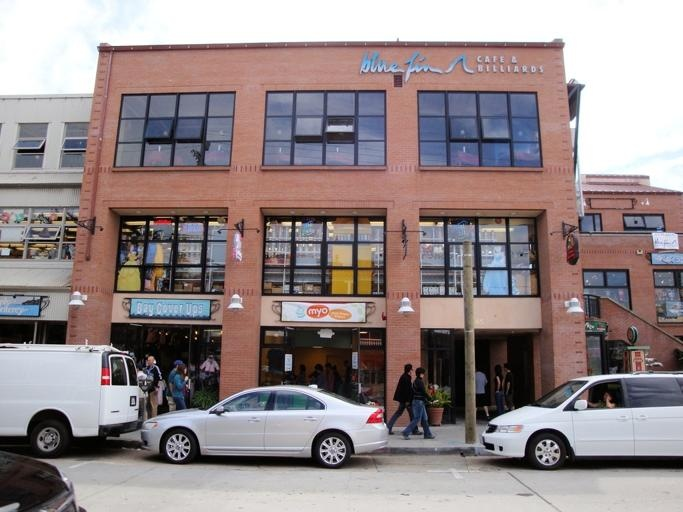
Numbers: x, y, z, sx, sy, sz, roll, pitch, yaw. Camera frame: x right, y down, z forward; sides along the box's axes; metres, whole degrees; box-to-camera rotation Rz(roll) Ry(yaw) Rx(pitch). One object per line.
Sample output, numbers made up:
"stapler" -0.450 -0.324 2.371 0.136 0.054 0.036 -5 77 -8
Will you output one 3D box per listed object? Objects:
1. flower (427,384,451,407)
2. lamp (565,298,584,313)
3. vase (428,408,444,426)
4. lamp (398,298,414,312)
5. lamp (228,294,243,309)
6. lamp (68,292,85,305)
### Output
"flower" 3.261 4.630 19.551 0.791 0.672 0.737 6 -13 -22
"lamp" 7.617 1.663 19.379 0.548 0.413 0.561 1 -16 1
"vase" 3.149 5.337 19.625 0.658 0.491 0.606 5 -15 -18
"lamp" 2.066 1.649 19.557 0.505 0.419 0.491 -4 -6 32
"lamp" -3.594 1.505 19.965 0.499 0.598 0.819 1 -10 -9
"lamp" -9.010 1.468 20.087 0.487 0.348 0.562 2 -11 -3
